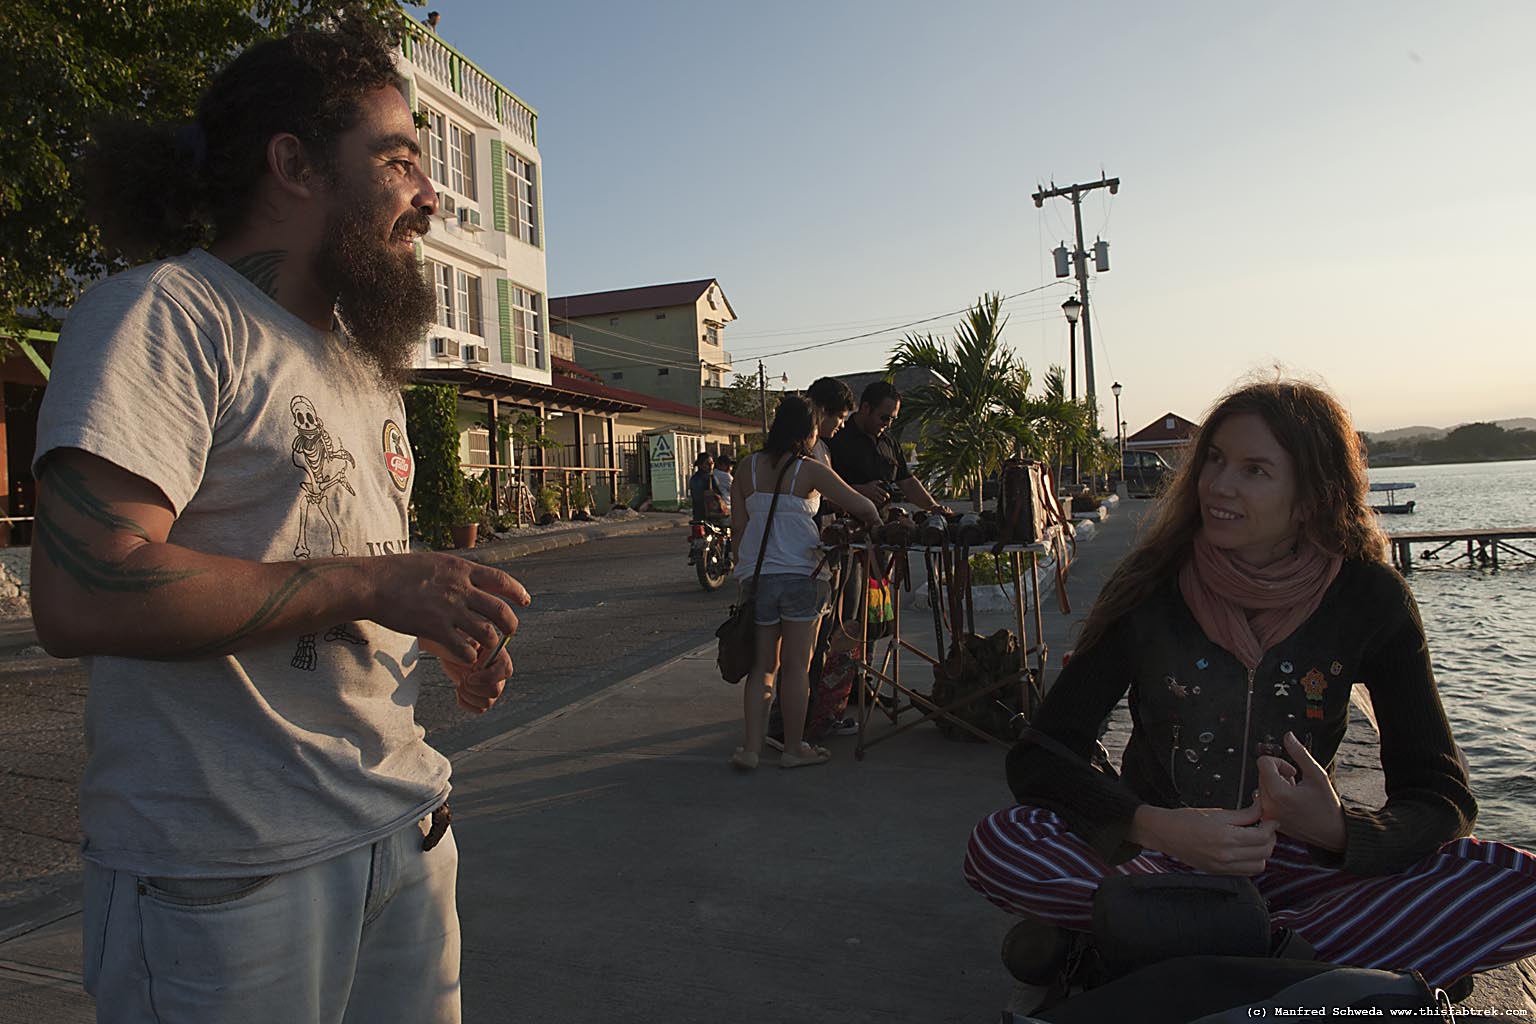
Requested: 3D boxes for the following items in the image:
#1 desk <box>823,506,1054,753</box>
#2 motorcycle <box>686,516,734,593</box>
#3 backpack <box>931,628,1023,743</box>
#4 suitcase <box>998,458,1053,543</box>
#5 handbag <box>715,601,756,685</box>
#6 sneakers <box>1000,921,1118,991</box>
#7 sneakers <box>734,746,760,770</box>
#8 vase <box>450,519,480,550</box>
[{"bbox_3d":[1.151,0.850,6.968,1.399,1.665,1.707,-1,-1,33],"label":"desk"},{"bbox_3d":[-0.721,0.522,14.247,0.651,0.871,1.356,0,10,16],"label":"motorcycle"},{"bbox_3d":[1.247,1.006,6.190,0.584,0.664,0.495,1,-6,18],"label":"backpack"},{"bbox_3d":[1.455,-0.136,6.036,0.333,0.620,0.642,-1,4,15],"label":"suitcase"},{"bbox_3d":[-0.179,0.743,6.078,0.208,0.507,0.412,-1,4,-4],"label":"handbag"},{"bbox_3d":[0.733,1.143,2.765,0.216,0.154,0.284,0,-14,31],"label":"sneakers"},{"bbox_3d":[-0.105,1.322,5.790,0.139,0.111,0.130,-2,5,-8],"label":"sneakers"},{"bbox_3d":[-5.562,0.418,19.740,0.463,0.362,0.461,2,-2,-29],"label":"vase"}]
